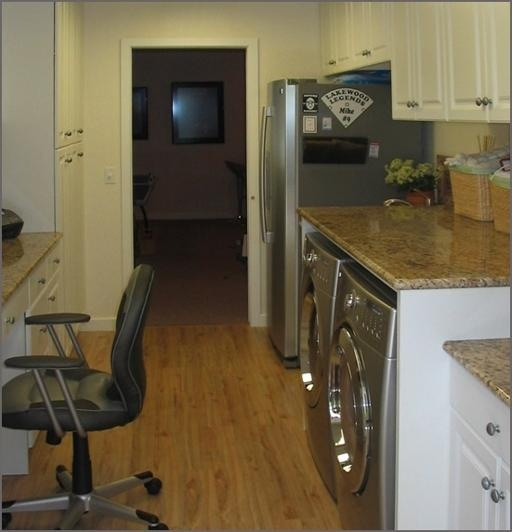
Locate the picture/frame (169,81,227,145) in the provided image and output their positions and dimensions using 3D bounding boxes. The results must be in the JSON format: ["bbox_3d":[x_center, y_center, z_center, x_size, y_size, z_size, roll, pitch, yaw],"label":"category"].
[{"bbox_3d":[-1.138,-2.964,8.992,0.907,1.206,0.114,-1,10,-5],"label":"picture/frame"}]

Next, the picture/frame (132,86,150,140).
[{"bbox_3d":[-2.136,-2.859,8.896,0.285,0.967,0.081,-2,8,-15],"label":"picture/frame"}]

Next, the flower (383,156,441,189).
[{"bbox_3d":[0.956,-0.562,2.985,0.248,0.210,0.285,3,21,4],"label":"flower"}]

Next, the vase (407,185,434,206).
[{"bbox_3d":[0.988,-0.430,2.890,0.155,0.112,0.107,4,10,23],"label":"vase"}]
